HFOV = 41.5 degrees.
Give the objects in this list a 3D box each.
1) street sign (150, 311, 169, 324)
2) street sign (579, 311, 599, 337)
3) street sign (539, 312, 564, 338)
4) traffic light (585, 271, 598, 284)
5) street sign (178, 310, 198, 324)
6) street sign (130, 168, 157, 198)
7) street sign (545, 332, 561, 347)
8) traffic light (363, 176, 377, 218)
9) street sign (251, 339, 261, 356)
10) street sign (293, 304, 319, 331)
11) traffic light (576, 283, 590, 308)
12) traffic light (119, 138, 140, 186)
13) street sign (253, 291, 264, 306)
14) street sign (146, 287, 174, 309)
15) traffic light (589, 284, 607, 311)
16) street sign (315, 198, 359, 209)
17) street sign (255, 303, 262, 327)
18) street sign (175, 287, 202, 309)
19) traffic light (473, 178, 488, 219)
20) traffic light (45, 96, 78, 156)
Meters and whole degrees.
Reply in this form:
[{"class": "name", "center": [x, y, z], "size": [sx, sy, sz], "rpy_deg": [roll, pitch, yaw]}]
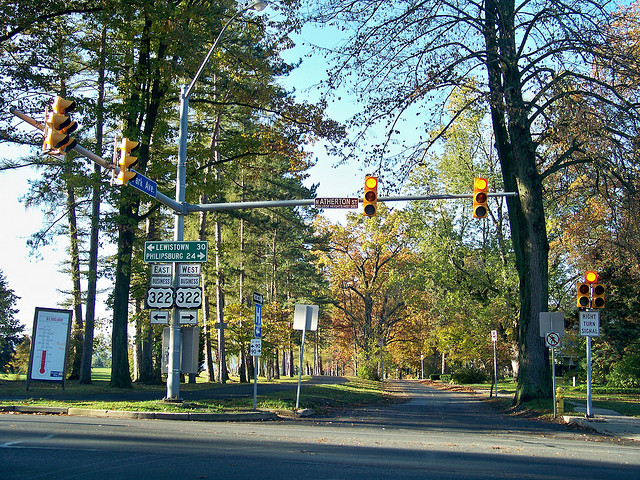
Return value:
[{"class": "street sign", "center": [-6.396, 3.045, 33.592], "size": [0.703, 0.518, 0.382], "rpy_deg": [1, -11, -8]}, {"class": "street sign", "center": [11.481, 3.513, 35.919], "size": [0.969, 1.402, 0.138], "rpy_deg": [-2, -5, 10]}, {"class": "street sign", "center": [10.247, 3.699, 37.238], "size": [1.099, 1.282, 0.141], "rpy_deg": [0, -7, 12]}, {"class": "traffic light", "center": [11.694, 1.564, 36.315], "size": [0.453, 0.725, 1.340], "rpy_deg": [-4, -13, 16]}, {"class": "street sign", "center": [-5.351, 3.106, 34.096], "size": [0.706, 0.579, 0.670], "rpy_deg": [0, -12, -3]}, {"class": "street sign", "center": [-6.731, -2.181, 32.164], "size": [1.654, 0.754, 0.031], "rpy_deg": [28, 23, 33]}, {"class": "street sign", "center": [10.286, 4.324, 37.210], "size": [0.748, 0.830, 0.104], "rpy_deg": [-1, -2, 5]}, {"class": "traffic light", "center": [1.953, -1.808, 32.843], "size": [0.451, 1.455, 0.666], "rpy_deg": [-1, -11, 1]}, {"class": "street sign", "center": [-2.734, 4.456, 35.294], "size": [0.237, 0.668, 0.519], "rpy_deg": [-8, -13, 34]}, {"class": "street sign", "center": [-0.635, 3.351, 37.173], "size": [1.011, 1.167, 0.879], "rpy_deg": [0, -11, -5]}, {"class": "traffic light", "center": [11.293, 2.309, 36.046], "size": [0.485, 1.018, 0.431], "rpy_deg": [-1, -11, 1]}, {"class": "traffic light", "center": [-6.885, -2.905, 30.262], "size": [0.592, 1.747, 1.060], "rpy_deg": [3, -11, -15]}, {"class": "street sign", "center": [-2.644, 2.425, 35.683], "size": [0.400, 0.562, 1.315], "rpy_deg": [1, -13, -6]}, {"class": "street sign", "center": [-6.381, 2.299, 33.722], "size": [0.785, 0.768, 0.066], "rpy_deg": [0, -9, -5]}, {"class": "traffic light", "center": [11.780, 2.320, 35.769], "size": [0.569, 1.003, 0.361], "rpy_deg": [-3, -11, 15]}, {"class": "street sign", "center": [0.648, -1.466, 33.204], "size": [1.714, 0.388, 0.465], "rpy_deg": [-1, -12, 3]}, {"class": "street sign", "center": [-2.600, 3.109, 35.314], "size": [0.182, 0.982, 0.423], "rpy_deg": [-6, -12, 29]}, {"class": "street sign", "center": [-5.258, 2.296, 33.662], "size": [0.787, 0.791, 0.137], "rpy_deg": [-1, -13, 5]}, {"class": "traffic light", "center": [6.301, -1.751, 33.044], "size": [0.508, 1.760, 1.047], "rpy_deg": [-3, -11, 14]}, {"class": "traffic light", "center": [-8.674, -4.017, 28.219], "size": [0.972, 2.036, 1.114], "rpy_deg": [4, -12, -20]}]
